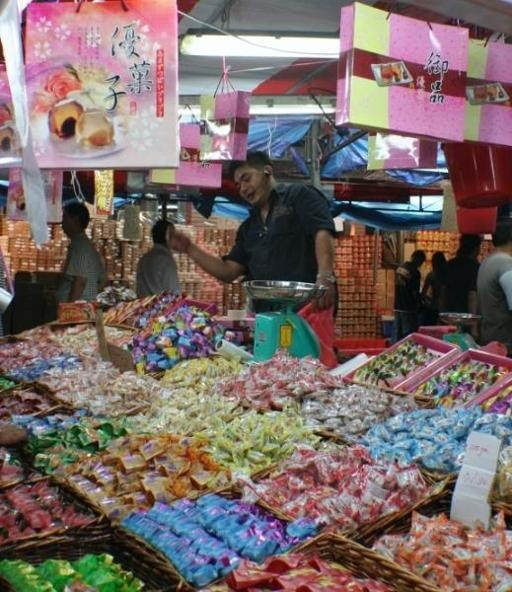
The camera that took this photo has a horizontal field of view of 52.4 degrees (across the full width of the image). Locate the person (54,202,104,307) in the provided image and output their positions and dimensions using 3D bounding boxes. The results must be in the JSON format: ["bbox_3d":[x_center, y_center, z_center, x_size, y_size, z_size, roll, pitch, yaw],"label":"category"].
[{"bbox_3d":[-1.611,-0.391,4.832,0.419,0.933,0.508,0,4,-19],"label":"person"}]

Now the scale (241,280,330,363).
[{"bbox_3d":[0.126,0.129,2.389,0.366,0.374,0.364,3,0,-27],"label":"scale"}]
